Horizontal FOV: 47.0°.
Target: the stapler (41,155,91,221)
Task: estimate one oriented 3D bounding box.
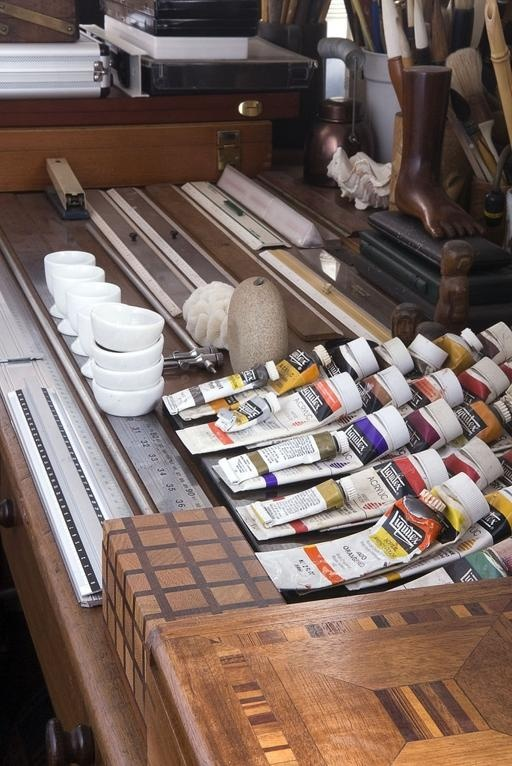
[{"bbox_3d":[-0.464,-0.502,1.458,0.082,0.082,0.280,-8,41,-16],"label":"stapler"}]
